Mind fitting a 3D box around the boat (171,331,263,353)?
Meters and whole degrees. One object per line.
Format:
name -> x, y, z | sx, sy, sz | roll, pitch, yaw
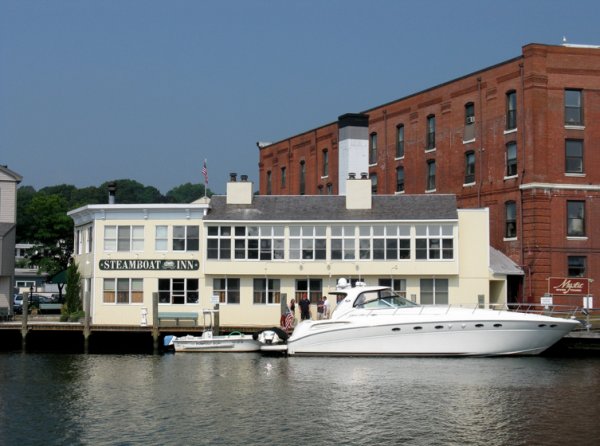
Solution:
boat -> -5.047, 7.001, 64.404 | 5.782, 1.355, 1.692 | -1, -5, 2
